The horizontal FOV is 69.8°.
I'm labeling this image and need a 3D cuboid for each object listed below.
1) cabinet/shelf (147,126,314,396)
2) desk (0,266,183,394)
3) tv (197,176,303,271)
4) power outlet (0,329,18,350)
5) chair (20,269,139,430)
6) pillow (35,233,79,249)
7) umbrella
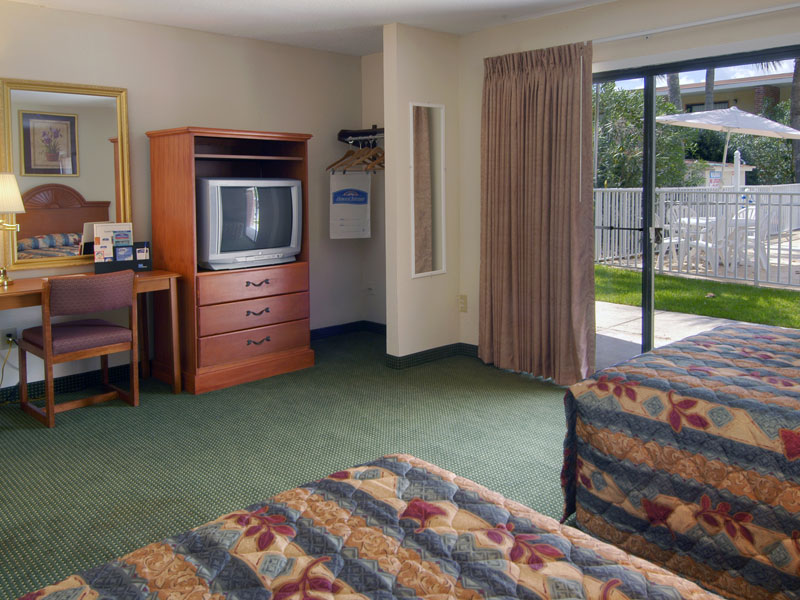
[{"bbox_3d":[-1.442,-0.423,5.092,1.485,2.093,0.965,-11,18,-40],"label":"cabinet/shelf"},{"bbox_3d":[-2.352,0.217,4.339,1.027,0.721,0.390,-5,7,-41],"label":"desk"},{"bbox_3d":[-1.091,-0.677,5.158,0.973,0.739,0.531,2,4,28],"label":"tv"},{"bbox_3d":[-2.929,0.295,4.310,0.082,0.149,0.154,3,3,-15],"label":"power outlet"},{"bbox_3d":[-2.377,0.330,4.251,0.639,1.025,0.697,6,9,36],"label":"chair"},{"bbox_3d":[-2.644,-0.467,4.461,0.218,0.066,0.100,-14,34,-17],"label":"pillow"},{"bbox_3d":[2.517,-1.106,4.343,0.612,0.406,0.652,2,1,41],"label":"umbrella"}]
